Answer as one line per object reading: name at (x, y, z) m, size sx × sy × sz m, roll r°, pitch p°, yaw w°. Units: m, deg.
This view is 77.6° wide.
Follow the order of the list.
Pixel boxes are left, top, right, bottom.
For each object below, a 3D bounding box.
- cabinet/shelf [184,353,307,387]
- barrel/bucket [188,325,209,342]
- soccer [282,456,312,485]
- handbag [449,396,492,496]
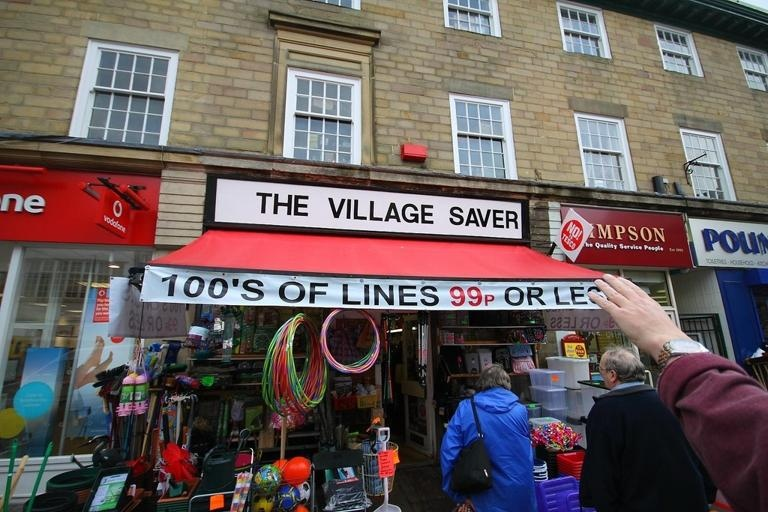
cabinet/shelf at (-2.172, 2.033, 8.592) m, size 2.634 × 0.618 × 1.015 m, roll -7°, pitch -5°, yaw 26°
barrel/bucket at (-3.204, 1.344, 8.271) m, size 0.343 × 0.249 × 0.246 m, roll 3°, pitch -12°, yaw -28°
soccer at (-1.261, 3.219, 7.165) m, size 0.483 × 0.279 × 0.319 m, roll -7°, pitch -6°, yaw 3°
handbag at (1.144, 2.554, 6.405) m, size 0.531 × 1.225 × 0.232 m, roll -4°, pitch -11°, yaw 3°
